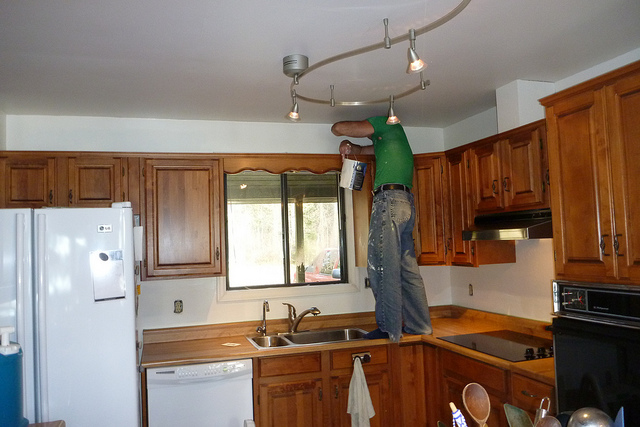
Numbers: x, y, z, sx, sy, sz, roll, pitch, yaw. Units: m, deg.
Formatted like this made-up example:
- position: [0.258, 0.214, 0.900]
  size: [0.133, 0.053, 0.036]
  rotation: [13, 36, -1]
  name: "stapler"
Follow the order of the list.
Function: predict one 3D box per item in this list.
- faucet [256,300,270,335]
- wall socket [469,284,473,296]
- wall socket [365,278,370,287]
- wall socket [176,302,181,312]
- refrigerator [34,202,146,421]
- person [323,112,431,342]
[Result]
- position: [-0.529, 0.972, 4.374]
  size: [0.139, 0.314, 0.124]
  rotation: [-6, 6, -28]
  name: "faucet"
- position: [1.499, 0.767, 4.667]
  size: [0.008, 0.113, 0.048]
  rotation: [-6, 6, -24]
  name: "wall socket"
- position: [0.468, 0.696, 4.692]
  size: [0.044, 0.088, 0.027]
  rotation: [-3, 5, 6]
  name: "wall socket"
- position: [-1.291, 0.858, 4.271]
  size: [0.042, 0.087, 0.014]
  rotation: [-4, 5, -9]
  name: "wall socket"
- position: [-1.610, 0.706, 3.254]
  size: [0.659, 1.511, 0.243]
  rotation: [-4, 5, -13]
  name: "refrigerator"
- position: [0.576, 0.127, 4.054]
  size: [0.675, 1.920, 0.398]
  rotation: [-2, 5, 13]
  name: "person"
